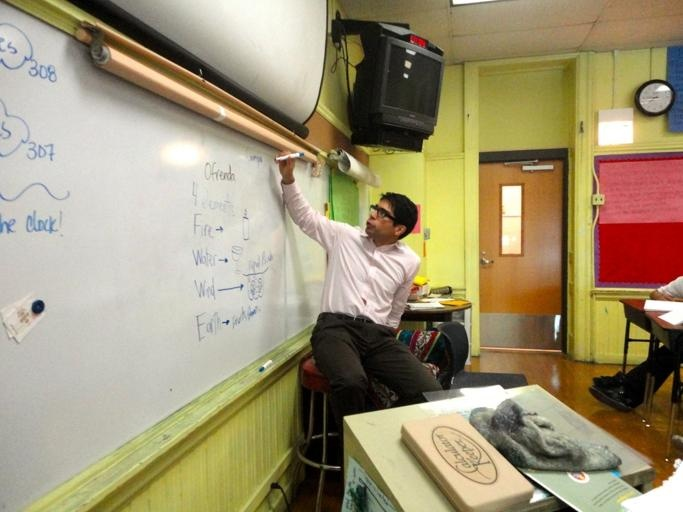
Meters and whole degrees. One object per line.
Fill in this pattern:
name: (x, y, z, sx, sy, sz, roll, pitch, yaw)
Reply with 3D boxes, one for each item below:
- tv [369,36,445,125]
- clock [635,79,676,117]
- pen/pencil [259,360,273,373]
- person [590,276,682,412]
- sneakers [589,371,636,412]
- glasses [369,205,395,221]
tv: (0.404, -1.136, 3.062, 0.547, 0.576, 0.294, -2, 17, -44)
clock: (2.831, -1.416, 4.238, 0.313, 0.342, 0.064, -3, 4, 10)
pen/pencil: (-0.330, 0.473, 2.049, 0.018, 0.020, 0.071, -24, 5, 20)
person: (2.300, 0.675, 3.659, 0.831, 0.452, 0.444, -8, 11, -40)
sneakers: (2.020, 0.982, 3.596, 0.141, 0.186, 0.422, 15, 12, -22)
glasses: (0.227, -0.249, 2.656, 0.107, 0.032, 0.105, 27, 2, -23)
